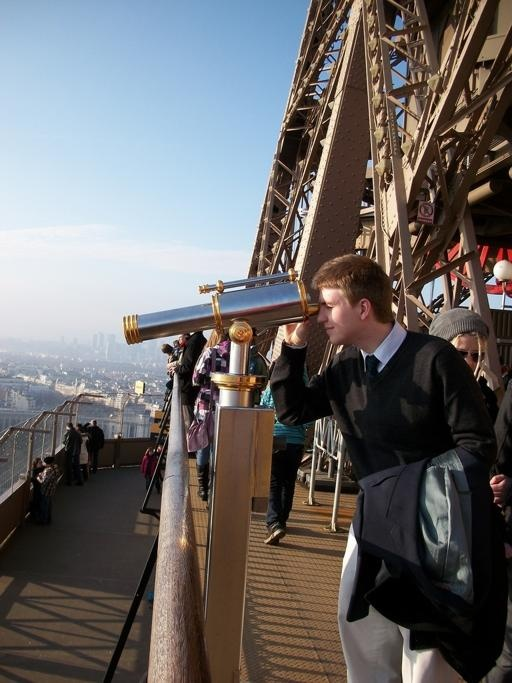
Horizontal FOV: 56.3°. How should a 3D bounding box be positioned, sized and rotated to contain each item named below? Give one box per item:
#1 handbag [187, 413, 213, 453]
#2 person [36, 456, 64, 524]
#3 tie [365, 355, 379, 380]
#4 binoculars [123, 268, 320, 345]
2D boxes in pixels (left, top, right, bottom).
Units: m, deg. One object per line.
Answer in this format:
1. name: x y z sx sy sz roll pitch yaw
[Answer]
1. handbag: -0.529 0.831 4.476 0.219 0.354 0.525 6 -4 -7
2. person: -6.194 4.186 14.167 0.515 1.543 2.734 7 -4 -21
3. tie: 0.402 0.089 1.682 0.043 0.080 0.018 -4 -9 35
4. binoculars: -0.111 -0.068 1.387 0.516 0.201 0.150 -8 -4 0
